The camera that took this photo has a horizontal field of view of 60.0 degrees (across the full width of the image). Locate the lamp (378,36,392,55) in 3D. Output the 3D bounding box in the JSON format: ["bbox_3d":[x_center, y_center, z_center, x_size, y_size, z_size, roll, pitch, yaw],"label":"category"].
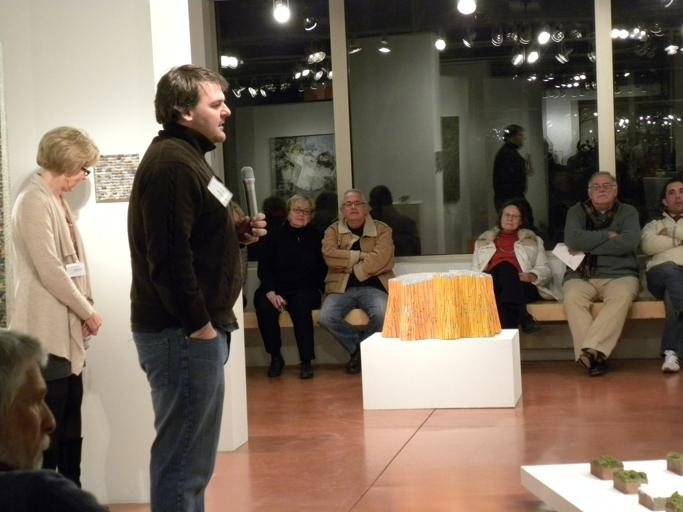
[{"bbox_3d":[0.430,-2.112,5.968,0.144,0.176,0.149,5,4,36],"label":"lamp"}]

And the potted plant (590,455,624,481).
[{"bbox_3d":[1.035,0.806,2.301,0.073,0.062,0.108,-3,0,14],"label":"potted plant"}]

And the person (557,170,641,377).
[{"bbox_3d":[2.278,0.107,5.162,0.653,1.897,0.751,-3,0,24],"label":"person"}]

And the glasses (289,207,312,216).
[{"bbox_3d":[-0.393,-0.439,5.823,0.228,0.068,0.085,-3,0,-24],"label":"glasses"}]

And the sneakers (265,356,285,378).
[{"bbox_3d":[-0.639,1.039,5.664,0.145,0.179,0.325,-3,0,3],"label":"sneakers"}]

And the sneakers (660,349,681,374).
[{"bbox_3d":[2.739,0.872,4.906,0.097,0.115,0.262,-3,-10,17],"label":"sneakers"}]

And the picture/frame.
[{"bbox_3d":[-0.374,-0.934,6.099,0.715,0.755,0.054,-1,0,0],"label":"picture/frame"}]

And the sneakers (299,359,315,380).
[{"bbox_3d":[-0.327,1.036,5.426,0.123,0.152,0.219,-3,0,-2],"label":"sneakers"}]

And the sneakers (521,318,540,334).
[{"bbox_3d":[1.690,0.612,5.266,0.147,0.155,0.145,-3,0,34],"label":"sneakers"}]
